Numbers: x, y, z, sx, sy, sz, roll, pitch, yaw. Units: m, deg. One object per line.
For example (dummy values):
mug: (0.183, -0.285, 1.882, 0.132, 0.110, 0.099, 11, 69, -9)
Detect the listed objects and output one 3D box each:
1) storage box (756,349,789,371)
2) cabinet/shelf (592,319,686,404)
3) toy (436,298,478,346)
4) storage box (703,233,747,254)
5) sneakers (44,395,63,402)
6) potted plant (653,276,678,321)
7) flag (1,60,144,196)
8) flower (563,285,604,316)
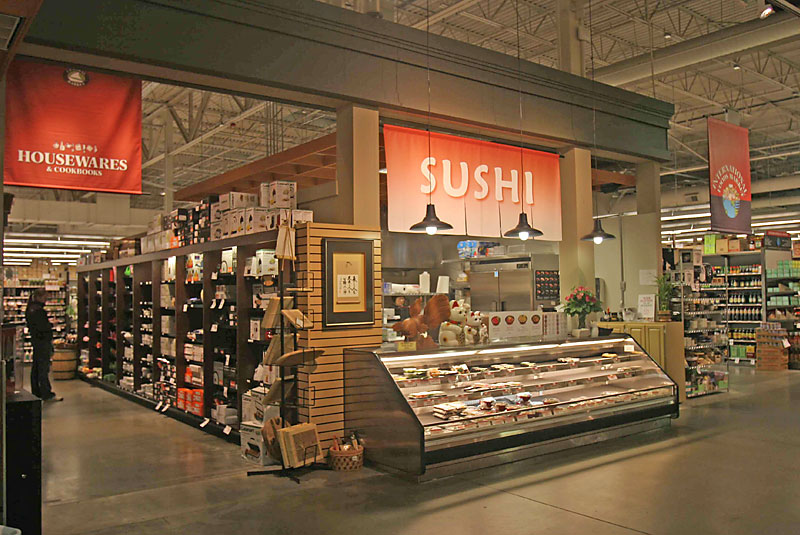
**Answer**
storage box: (9.302, 2.267, 16.086, 0.594, 0.732, 0.798, 7, -10, -40)
cabinet/shelf: (3.863, 1.554, 10.335, 0.558, 1.320, 1.495, 2, -3, -32)
toy: (0.817, 0.827, 9.235, 0.650, 0.797, 0.594, -3, -8, 30)
storage box: (9.068, -0.625, 17.677, 0.789, 0.421, 0.730, 0, 1, -2)
sneakers: (-6.831, 2.606, 12.487, 0.292, 0.172, 0.096, -7, 7, -11)
potted plant: (4.854, 0.574, 11.580, 0.349, 0.820, 0.552, 1, 5, 23)
flag: (-4.093, -1.747, 7.835, 2.095, 1.840, 0.082, 0, -1, -26)
flower: (3.030, 0.571, 10.585, 0.628, 0.389, 0.585, -6, 7, -18)
